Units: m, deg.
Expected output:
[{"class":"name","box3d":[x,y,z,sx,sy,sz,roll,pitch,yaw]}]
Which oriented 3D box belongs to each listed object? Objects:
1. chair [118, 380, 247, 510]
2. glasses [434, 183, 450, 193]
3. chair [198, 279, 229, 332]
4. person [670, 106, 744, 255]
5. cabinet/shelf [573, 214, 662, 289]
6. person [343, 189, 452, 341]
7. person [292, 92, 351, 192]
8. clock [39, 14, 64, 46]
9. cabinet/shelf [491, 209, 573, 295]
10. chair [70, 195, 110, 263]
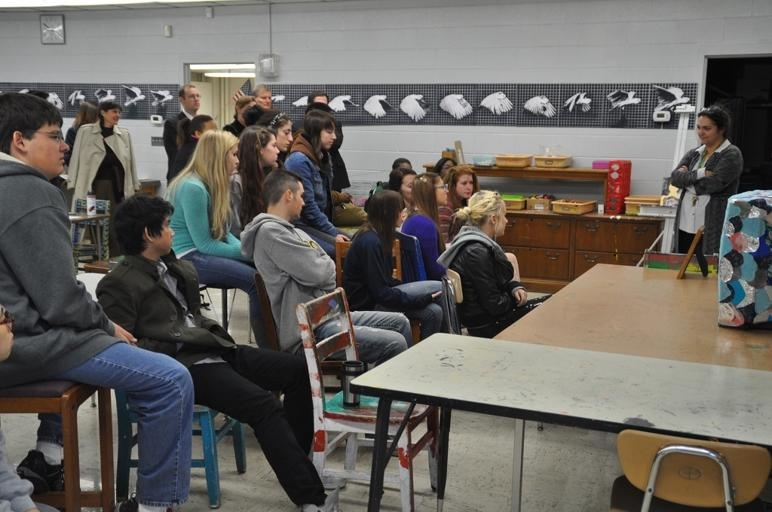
[{"class":"chair","box3d":[-1.172,1.031,3.699,0.689,0.956,0.693,1,5,7]},{"class":"glasses","box3d":[0.515,-0.630,5.443,0.139,0.042,0.138,3,4,26]},{"class":"chair","box3d":[-1.487,0.420,5.065,0.354,0.347,0.256,1,-9,-22]},{"class":"person","box3d":[3.032,-0.702,5.690,0.360,1.440,0.560,-8,13,-33]},{"class":"cabinet/shelf","box3d":[2.851,-0.035,7.285,1.001,0.940,0.359,5,17,37]},{"class":"person","box3d":[0.087,0.206,4.432,0.824,1.339,0.575,1,11,6]},{"class":"person","box3d":[-0.606,-1.479,7.500,0.719,0.714,1.912,-4,-10,7]},{"class":"clock","box3d":[-5.413,-3.714,9.689,0.444,0.505,0.069,5,15,11]},{"class":"cabinet/shelf","box3d":[1.919,-0.151,7.717,1.098,1.043,0.676,9,28,25]},{"class":"chair","box3d":[-3.210,-0.286,6.490,0.404,0.508,0.747,-3,12,-15]}]
